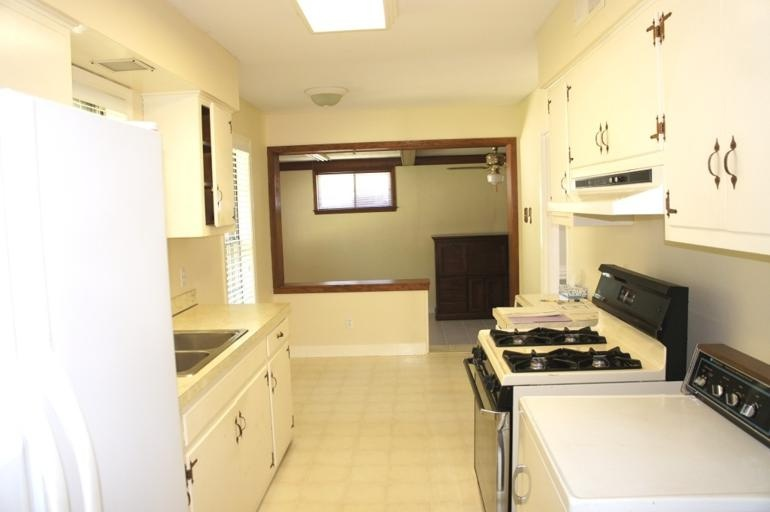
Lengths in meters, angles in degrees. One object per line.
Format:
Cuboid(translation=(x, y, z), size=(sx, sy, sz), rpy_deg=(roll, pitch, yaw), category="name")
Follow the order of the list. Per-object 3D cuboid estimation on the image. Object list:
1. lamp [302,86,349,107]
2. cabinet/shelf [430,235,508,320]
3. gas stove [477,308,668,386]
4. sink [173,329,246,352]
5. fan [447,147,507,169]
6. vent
Cuboid(translation=(-0.497, -1.345, 4.477), size=(0.248, 0.076, 0.244), rpy_deg=(2, 7, 10), category="lamp")
Cuboid(translation=(1.258, 0.309, 7.665), size=(1.292, 1.176, 0.481), rpy_deg=(0, 0, 0), category="cabinet/shelf")
Cuboid(translation=(0.898, 0.444, 2.741), size=(0.757, 0.171, 0.752), rpy_deg=(-2, 8, -1), category="gas stove")
Cuboid(translation=(-1.055, 0.492, 3.113), size=(0.241, 0.076, 0.202), rpy_deg=(0, 6, -22), category="sink")
Cuboid(translation=(1.272, -1.328, 7.339), size=(0.805, 0.248, 0.553), rpy_deg=(0, 9, 8), category="fan")
Cuboid(translation=(1.040, -0.318, 2.460), size=(0.384, 0.110, 0.112), rpy_deg=(-2, 0, 23), category="vent")
